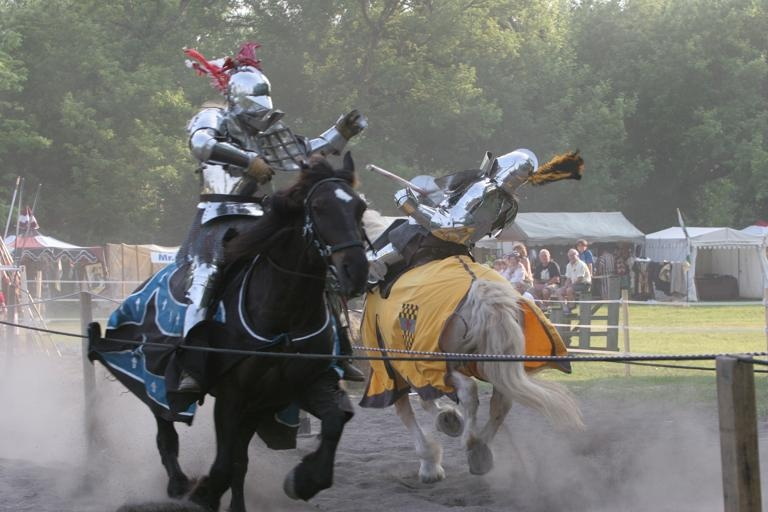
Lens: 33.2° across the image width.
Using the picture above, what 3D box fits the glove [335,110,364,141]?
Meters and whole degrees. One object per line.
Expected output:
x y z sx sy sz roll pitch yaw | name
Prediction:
-0.733 -3.054 29.602 0.829 0.464 0.417 -32 4 22 | glove

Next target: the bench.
5.111 1.385 35.898 1.929 0.990 1.857 -3 5 -41 | bench

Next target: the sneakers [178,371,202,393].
-4.298 2.758 28.169 0.269 0.264 0.702 3 2 -30 | sneakers
